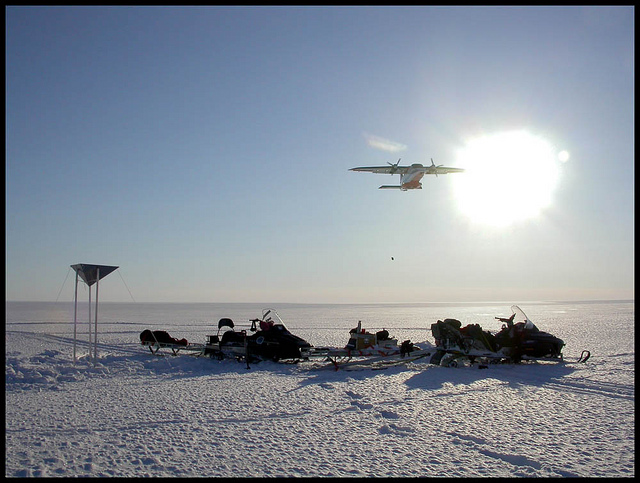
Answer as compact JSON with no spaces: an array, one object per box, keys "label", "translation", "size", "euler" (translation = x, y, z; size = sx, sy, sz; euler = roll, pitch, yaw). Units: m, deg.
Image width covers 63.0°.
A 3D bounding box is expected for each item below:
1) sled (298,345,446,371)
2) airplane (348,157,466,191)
[{"label":"sled","translation":[1.852,4.369,19.725],"size":[5.089,0.812,1.755],"euler":[1,-5,-6]},{"label":"airplane","translation":[7.853,-6.303,47.542],"size":[9.484,3.207,6.950],"euler":[0,-1,-19]}]
